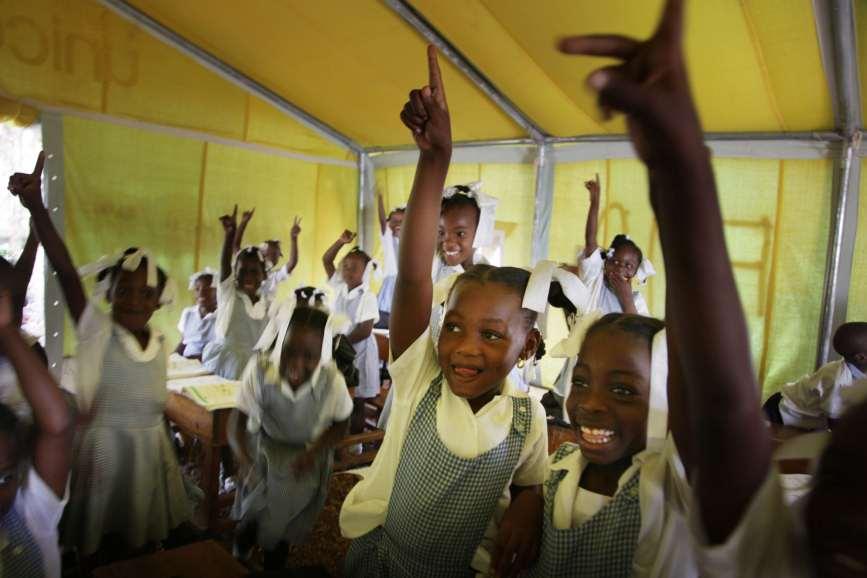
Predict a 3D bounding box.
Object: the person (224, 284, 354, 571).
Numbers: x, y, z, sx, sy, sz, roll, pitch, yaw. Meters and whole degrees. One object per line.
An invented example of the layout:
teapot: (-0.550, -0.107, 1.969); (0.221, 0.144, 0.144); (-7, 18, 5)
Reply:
person: (-0.639, 0.605, 2.716); (0.531, 1.069, 0.476); (3, 2, -9)
